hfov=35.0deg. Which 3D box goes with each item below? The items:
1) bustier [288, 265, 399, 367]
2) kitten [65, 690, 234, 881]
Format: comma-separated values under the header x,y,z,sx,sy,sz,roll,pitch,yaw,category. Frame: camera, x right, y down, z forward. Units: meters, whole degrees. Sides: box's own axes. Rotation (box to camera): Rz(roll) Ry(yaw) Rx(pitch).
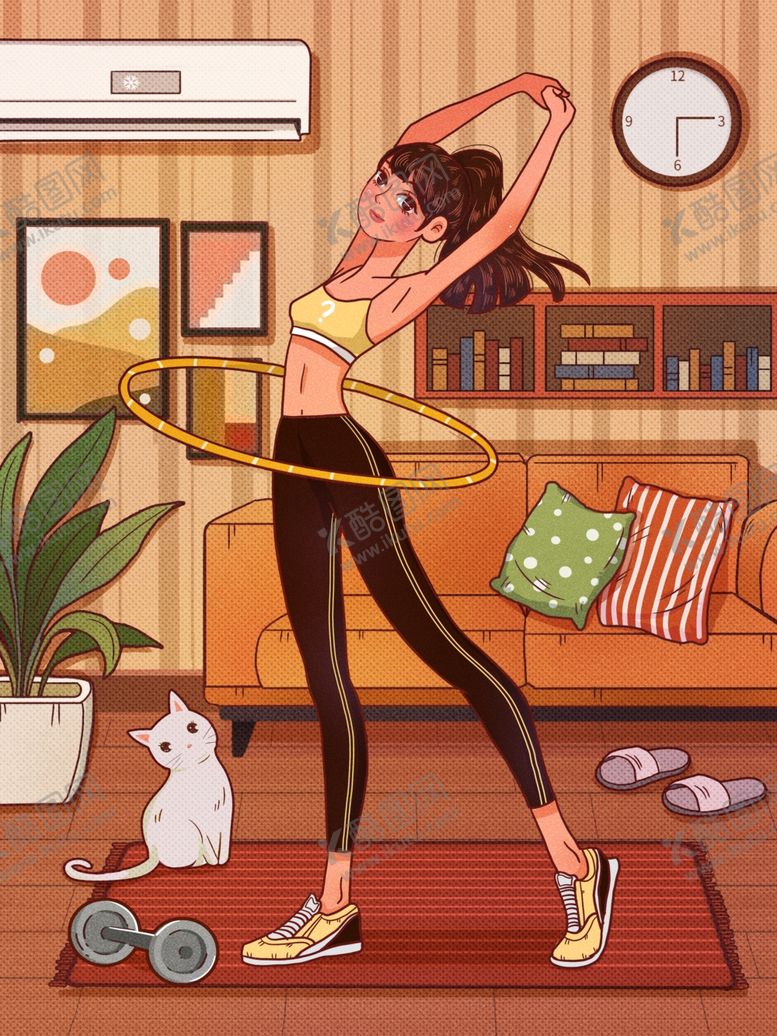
x,y,z,sx,sy,sz,roll,pitch,yaw,category
-0.112,-0.490,3.107,0.209,0.192,0.166,4,12,30,bustier
-0.565,0.674,3.071,0.357,0.515,0.108,0,9,-13,kitten
